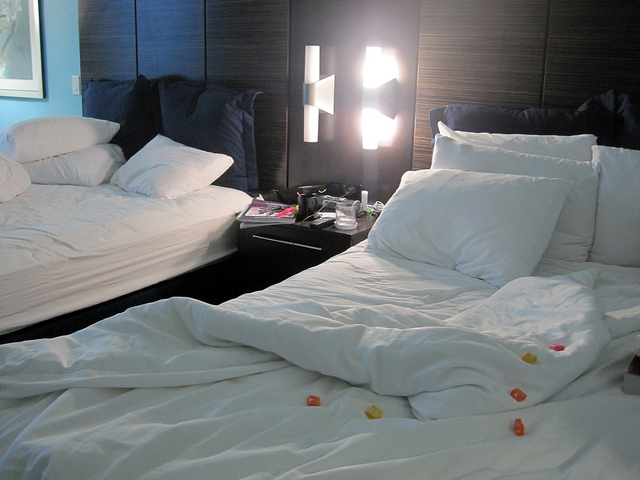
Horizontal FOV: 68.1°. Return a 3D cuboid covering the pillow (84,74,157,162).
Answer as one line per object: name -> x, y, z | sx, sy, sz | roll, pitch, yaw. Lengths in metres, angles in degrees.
pillow -> -1.508, -0.900, 3.575 | 0.815, 0.656, 0.279 | 10, 14, 35

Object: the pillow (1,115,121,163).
pillow -> -1.828, -0.733, 3.330 | 0.490, 0.159, 0.537 | 2, 23, 31

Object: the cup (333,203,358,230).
cup -> 0.154, -0.138, 2.767 | 0.127, 0.136, 0.164 | 19, 27, 41

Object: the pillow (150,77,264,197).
pillow -> -0.880, -0.770, 3.510 | 0.881, 0.779, 0.292 | 12, 26, 18

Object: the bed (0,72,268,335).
bed -> -1.041, -0.214, 2.782 | 1.322, 0.730, 1.269 | 15, 31, 22

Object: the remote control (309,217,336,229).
remote control -> 0.012, -0.104, 2.754 | 0.066, 0.019, 0.120 | 10, 19, 32

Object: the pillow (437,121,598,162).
pillow -> 0.948, -0.427, 2.383 | 0.806, 0.248, 0.115 | 0, 7, 8

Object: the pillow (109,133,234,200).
pillow -> -0.929, -0.481, 3.096 | 0.503, 0.155, 0.546 | -36, 43, -30

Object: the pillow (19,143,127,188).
pillow -> -1.711, -0.501, 3.260 | 0.422, 0.118, 0.417 | 6, 25, 18

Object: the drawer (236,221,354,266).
drawer -> -0.167, 0.024, 2.785 | 0.514, 0.294, 0.271 | 12, 35, 29

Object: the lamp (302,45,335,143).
lamp -> -0.038, -1.000, 3.261 | 0.273, 0.616, 0.252 | -3, 19, -14
